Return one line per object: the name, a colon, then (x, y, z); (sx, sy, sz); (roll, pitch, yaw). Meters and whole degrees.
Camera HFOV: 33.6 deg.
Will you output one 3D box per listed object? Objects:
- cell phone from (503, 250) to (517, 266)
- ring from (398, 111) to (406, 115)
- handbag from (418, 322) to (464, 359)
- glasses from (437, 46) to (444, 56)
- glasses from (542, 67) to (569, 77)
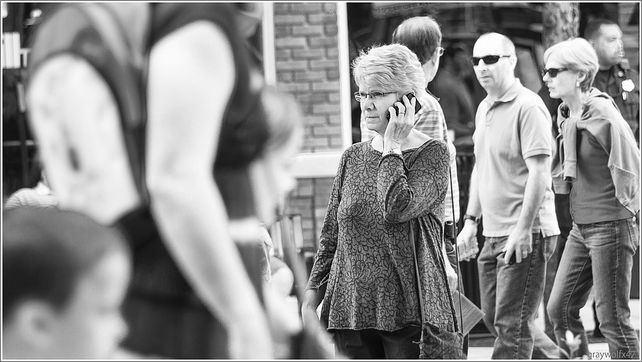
cell phone: (1.681, 0.708, 9.524); (0.093, 0.117, 0.034); (17, 1, 24)
ring: (0.655, -0.558, 8.793); (0.036, 0.025, 0.027); (-10, -13, 38)
handbag: (1.038, 1.347, 8.864); (0.234, 0.363, 0.531); (-1, 2, 33)
glasses: (1.060, -1.164, 9.571); (0.057, 0.090, 0.094); (10, 9, 33)
glasses: (2.061, -0.977, 9.535); (0.116, 0.033, 0.109); (12, -14, -37)
